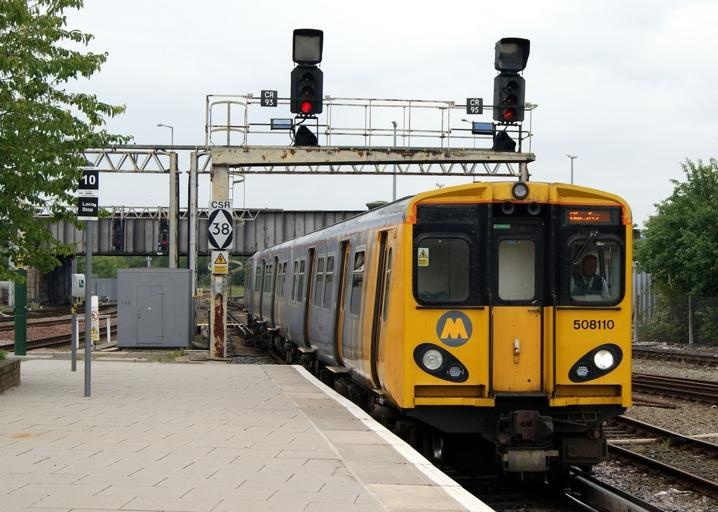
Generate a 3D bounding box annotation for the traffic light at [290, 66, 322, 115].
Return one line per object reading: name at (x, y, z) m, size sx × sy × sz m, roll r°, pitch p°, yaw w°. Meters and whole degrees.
traffic light at (-1.105, -3.602, 17.953) m, size 0.648 × 1.057 × 0.416 m, roll 0°, pitch -1°, yaw -8°

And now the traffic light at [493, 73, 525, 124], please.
traffic light at (3.132, -3.263, 17.133) m, size 0.616 × 1.018 × 0.409 m, roll 0°, pitch -1°, yaw 6°

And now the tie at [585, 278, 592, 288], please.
tie at (3.047, 0.353, 10.931) m, size 0.082 × 0.113 × 0.080 m, roll 0°, pitch 12°, yaw 4°

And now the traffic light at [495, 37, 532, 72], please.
traffic light at (3.111, -4.103, 16.669) m, size 0.665 × 0.642 × 0.670 m, roll 0°, pitch -1°, yaw 9°

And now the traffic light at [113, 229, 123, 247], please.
traffic light at (-14.794, -1.020, 51.181) m, size 0.746 × 1.295 × 0.572 m, roll 0°, pitch -1°, yaw 12°

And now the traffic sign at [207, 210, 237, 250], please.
traffic sign at (-3.292, -0.657, 19.916) m, size 0.561 × 0.990 × 0.510 m, roll 0°, pitch -1°, yaw -13°

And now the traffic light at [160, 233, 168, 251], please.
traffic light at (-11.188, -0.774, 47.889) m, size 0.361 × 1.108 × 0.669 m, roll 0°, pitch -1°, yaw -17°
